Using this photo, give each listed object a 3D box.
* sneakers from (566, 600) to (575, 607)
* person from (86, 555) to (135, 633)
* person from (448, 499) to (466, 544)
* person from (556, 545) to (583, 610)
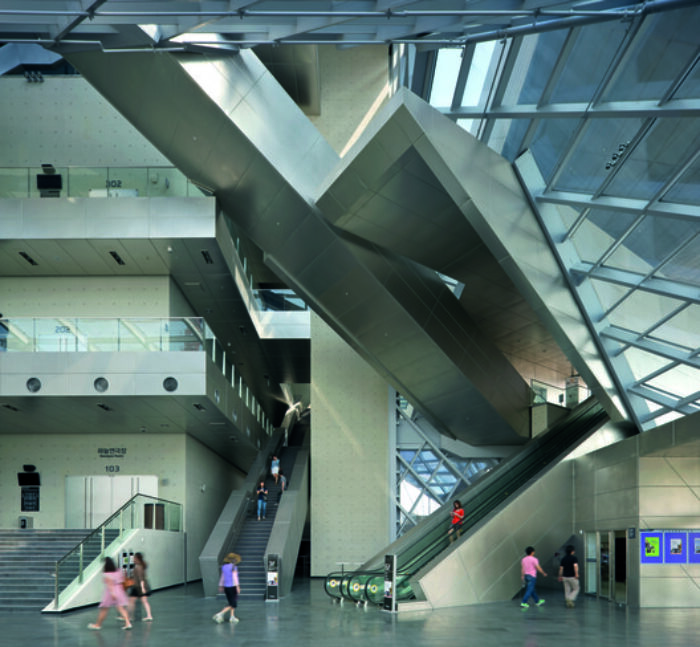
[{"bbox_3d":[5.012,6.378,16.255,0.159,0.125,0.136,-2,25,6],"label":"sneakers"},{"bbox_3d":[-4.547,5.049,13.542,0.748,1.213,1.808,3,-18,-19],"label":"person"},{"bbox_3d":[2.668,4.994,18.205,0.453,1.009,0.776,-6,-18,7],"label":"person"},{"bbox_3d":[5.093,5.831,16.564,0.408,1.308,1.118,-8,-19,13],"label":"person"}]
